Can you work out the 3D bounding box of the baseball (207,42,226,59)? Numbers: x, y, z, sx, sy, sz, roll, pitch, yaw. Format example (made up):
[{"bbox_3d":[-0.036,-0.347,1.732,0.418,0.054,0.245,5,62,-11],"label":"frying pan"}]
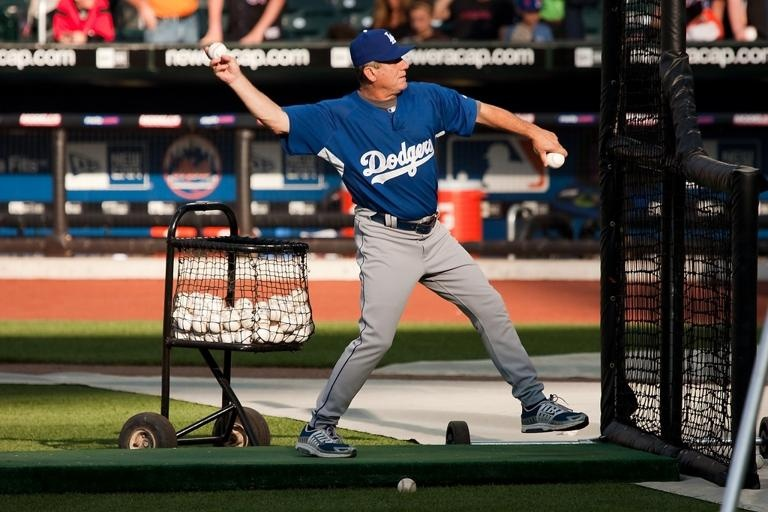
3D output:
[{"bbox_3d":[-1.348,-1.624,13.789,0.161,0.145,0.139,-2,6,-8],"label":"baseball"}]

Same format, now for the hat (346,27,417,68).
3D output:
[{"bbox_3d":[-0.010,-1.698,14.066,0.597,0.318,0.415,-13,-2,20],"label":"hat"}]

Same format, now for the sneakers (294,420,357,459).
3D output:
[{"bbox_3d":[-0.478,1.540,13.928,0.535,0.257,0.227,7,1,33],"label":"sneakers"}]

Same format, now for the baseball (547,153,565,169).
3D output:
[{"bbox_3d":[1.412,-0.764,14.071,0.121,0.122,0.122,-22,-38,30],"label":"baseball"}]
